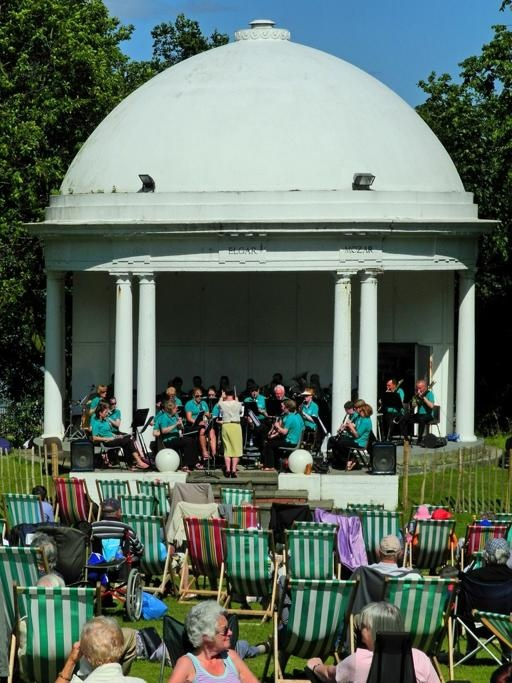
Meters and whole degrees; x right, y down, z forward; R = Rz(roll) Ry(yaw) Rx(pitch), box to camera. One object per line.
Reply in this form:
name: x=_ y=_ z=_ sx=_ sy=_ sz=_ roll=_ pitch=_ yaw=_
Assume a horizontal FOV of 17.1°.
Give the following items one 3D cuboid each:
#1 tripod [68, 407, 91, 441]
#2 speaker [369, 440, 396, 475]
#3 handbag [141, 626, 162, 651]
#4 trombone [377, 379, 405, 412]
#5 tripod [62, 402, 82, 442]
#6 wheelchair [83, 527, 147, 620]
tripod: x=-3.586 y=1.661 z=34.631 sx=0.480 sy=0.947 sz=0.612 roll=2 pitch=-12 yaw=-5
speaker: x=2.087 y=1.925 z=28.437 sx=0.411 sy=0.739 sz=0.465 roll=0 pitch=6 yaw=2
handbag: x=-1.201 y=3.374 z=19.521 sx=0.062 sy=0.265 sz=0.192 roll=-31 pitch=-33 yaw=22
trombone: x=2.771 y=1.069 z=33.894 sx=0.173 sy=0.586 sz=0.795 roll=4 pitch=-6 yaw=-8
tripod: x=-3.851 y=1.676 z=35.662 sx=0.521 sy=1.172 sz=0.561 roll=2 pitch=-7 yaw=-11
wheelchair: x=-1.748 y=2.754 z=21.192 sx=0.638 sy=1.326 sz=1.009 roll=-1 pitch=-16 yaw=1
